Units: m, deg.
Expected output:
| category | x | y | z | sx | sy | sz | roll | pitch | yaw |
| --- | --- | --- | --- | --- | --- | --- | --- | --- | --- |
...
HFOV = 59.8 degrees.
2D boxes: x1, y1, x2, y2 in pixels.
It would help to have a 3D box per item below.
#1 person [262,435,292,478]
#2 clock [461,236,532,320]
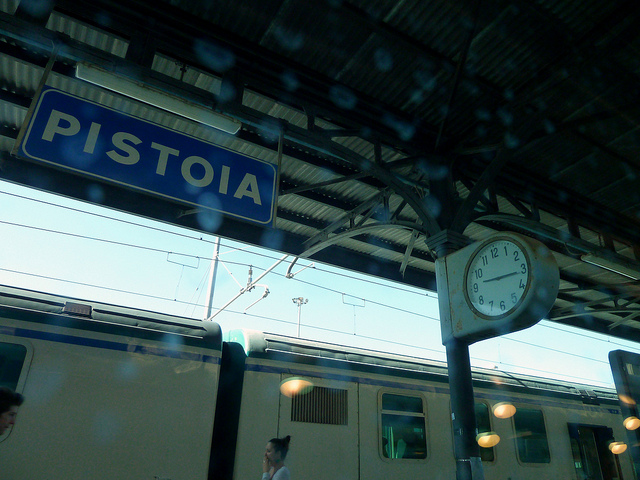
| category | x | y | z | sx | sy | sz | roll | pitch | yaw |
| --- | --- | --- | --- | --- | --- | --- | --- | --- | --- |
| person | -0.536 | 2.664 | 6.871 | 0.316 | 0.527 | 0.783 | 4 | -28 | -3 |
| clock | 1.951 | 0.445 | 6.083 | 0.148 | 0.883 | 0.839 | 15 | -22 | -34 |
